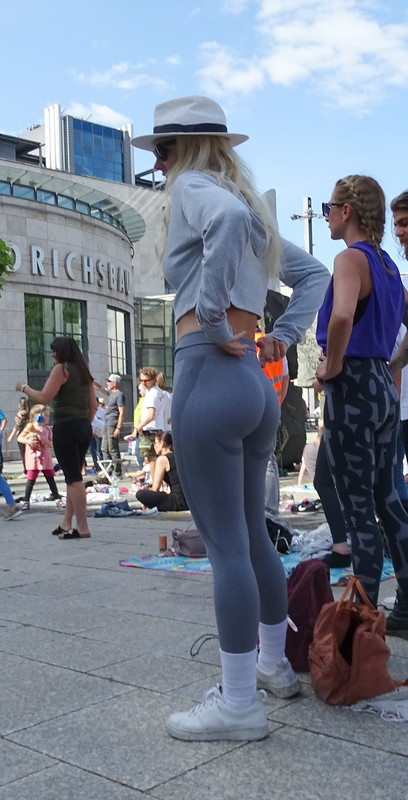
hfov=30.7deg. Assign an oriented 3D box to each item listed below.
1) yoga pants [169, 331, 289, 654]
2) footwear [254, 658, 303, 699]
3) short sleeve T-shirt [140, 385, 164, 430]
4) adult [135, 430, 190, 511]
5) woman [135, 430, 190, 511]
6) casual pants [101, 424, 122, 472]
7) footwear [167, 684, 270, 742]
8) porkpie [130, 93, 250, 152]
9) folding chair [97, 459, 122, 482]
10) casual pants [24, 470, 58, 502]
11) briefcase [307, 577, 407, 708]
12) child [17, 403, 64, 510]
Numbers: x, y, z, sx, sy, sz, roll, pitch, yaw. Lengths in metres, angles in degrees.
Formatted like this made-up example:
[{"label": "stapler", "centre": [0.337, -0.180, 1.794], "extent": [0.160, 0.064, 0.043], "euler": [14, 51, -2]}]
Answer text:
[{"label": "yoga pants", "centre": [0.085, 0.300, 2.458], "extent": [0.347, 1.038, 0.369], "euler": [-1, 5, 5]}, {"label": "footwear", "centre": [0.268, 1.016, 2.731], "extent": [0.079, 0.093, 0.219], "euler": [-5, -5, -18]}, {"label": "short sleeve T-shirt", "centre": [-0.734, 0.124, 10.787], "extent": [0.325, 0.586, 0.526], "euler": [0, -14, 3]}, {"label": "adult", "centre": [-0.540, 0.852, 9.102], "extent": [0.656, 0.936, 0.685], "euler": [5, 7, 31]}, {"label": "woman", "centre": [-0.510, 0.851, 9.127], "extent": [0.618, 0.932, 0.698], "euler": [4, 6, 14]}, {"label": "casual pants", "centre": [-1.748, 0.926, 14.268], "extent": [0.393, 1.202, 0.314], "euler": [10, 20, 22]}, {"label": "footwear", "centre": [0.046, 1.013, 2.424], "extent": [0.340, 0.155, 0.136], "euler": [0, -14, 8]}, {"label": "porkpie", "centre": [-0.038, -0.975, 2.609], "extent": [0.402, 0.140, 0.362], "euler": [0, 16, 7]}, {"label": "folding chair", "centre": [-1.689, 1.280, 13.550], "extent": [0.327, 0.410, 0.428], "euler": [3, -2, 6]}, {"label": "casual pants", "centre": [-2.505, 1.342, 11.557], "extent": [0.445, 0.842, 0.201], "euler": [-18, 44, -36]}, {"label": "briefcase", "centre": [0.462, 0.872, 2.701], "extent": [0.405, 0.436, 0.350], "euler": [0, -8, -2]}, {"label": "child", "centre": [-2.297, 0.807, 10.635], "extent": [0.636, 1.456, 0.467], "euler": [0, -7, -16]}]
